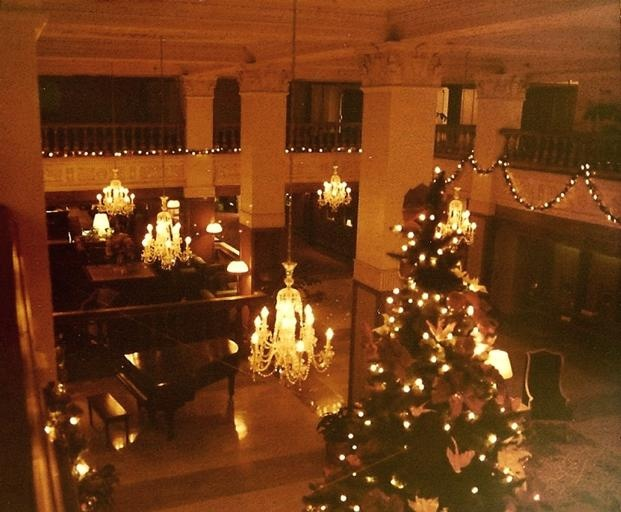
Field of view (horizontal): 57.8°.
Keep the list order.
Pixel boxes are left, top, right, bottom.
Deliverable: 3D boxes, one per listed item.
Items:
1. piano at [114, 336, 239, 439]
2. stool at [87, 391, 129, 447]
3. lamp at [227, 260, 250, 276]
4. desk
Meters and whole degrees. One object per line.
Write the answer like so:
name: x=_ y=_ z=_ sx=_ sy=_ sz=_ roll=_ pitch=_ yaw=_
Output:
piano: x=-1.638 y=1.860 z=7.888 sx=1.509 sy=0.831 sz=1.096 roll=-7 pitch=15 yaw=-36
stool: x=-2.665 y=2.171 z=7.517 sx=0.508 sy=0.555 sz=0.977 roll=-4 pitch=15 yaw=-27
lamp: x=-1.355 y=0.217 z=10.608 sx=0.424 sy=0.521 sz=0.447 roll=1 pitch=2 yaw=-5
desk: x=-3.353 y=0.547 z=11.889 sx=1.384 sy=0.777 sz=2.953 roll=15 pitch=18 yaw=43
